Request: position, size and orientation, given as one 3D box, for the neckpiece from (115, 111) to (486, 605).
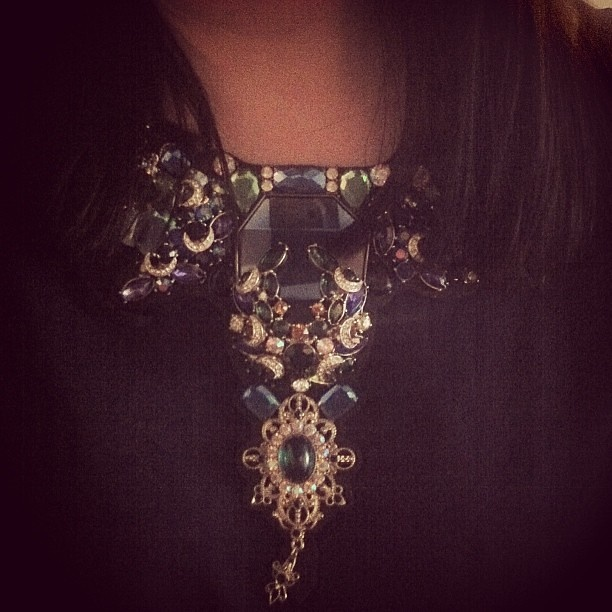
[{"bbox_3d":[-0.011,0.115,1.435,0.509,0.805,0.035,0,30,-2],"label":"neckpiece"}]
